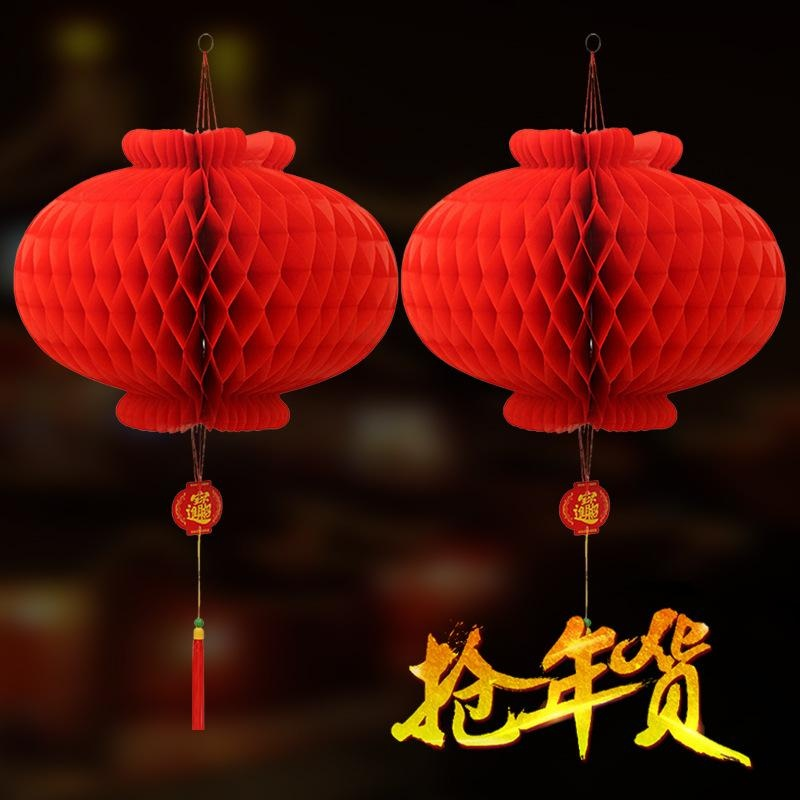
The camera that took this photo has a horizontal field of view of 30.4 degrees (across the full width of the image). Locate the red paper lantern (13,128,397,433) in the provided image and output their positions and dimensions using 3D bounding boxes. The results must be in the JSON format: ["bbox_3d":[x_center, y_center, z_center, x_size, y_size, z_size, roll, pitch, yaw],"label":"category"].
[{"bbox_3d":[-0.392,-0.214,2.891,0.651,0.501,0.672,5,8,31],"label":"red paper lantern"}]

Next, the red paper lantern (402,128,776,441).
[{"bbox_3d":[0.401,-0.244,3.038,0.764,0.634,0.807,5,5,42],"label":"red paper lantern"}]
